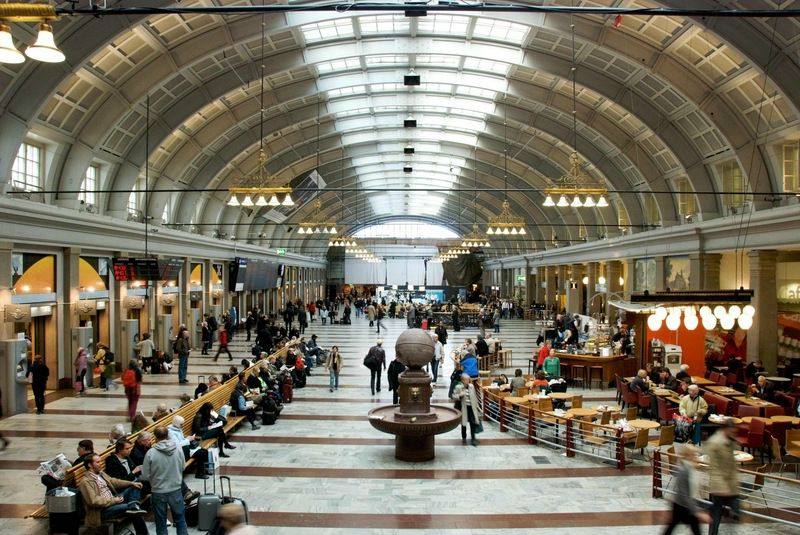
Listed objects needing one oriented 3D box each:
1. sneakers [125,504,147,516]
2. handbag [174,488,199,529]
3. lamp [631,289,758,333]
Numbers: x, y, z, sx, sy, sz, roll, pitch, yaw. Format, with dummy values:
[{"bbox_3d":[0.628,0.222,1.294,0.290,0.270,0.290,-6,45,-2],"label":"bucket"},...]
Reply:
[{"bbox_3d":[-5.312,4.917,11.201,0.502,0.200,0.182,1,-9,9],"label":"sneakers"},{"bbox_3d":[-4.528,5.124,11.833,0.341,0.829,0.497,3,-6,-19],"label":"handbag"},{"bbox_3d":[9.121,1.276,17.271,2.701,0.825,2.638,-1,-4,6],"label":"lamp"}]
